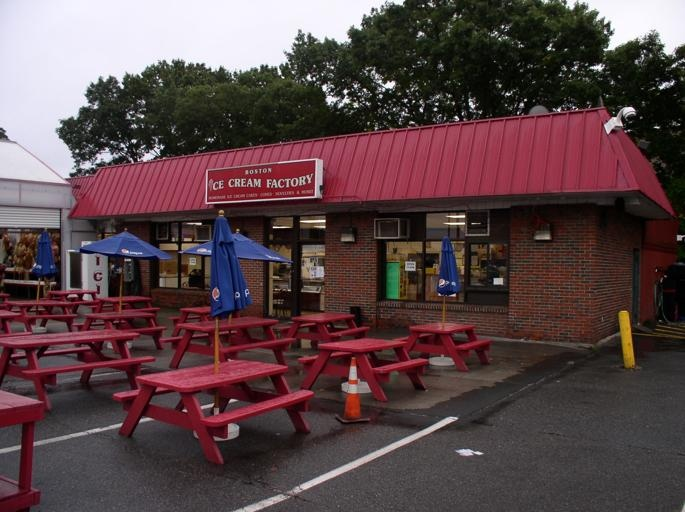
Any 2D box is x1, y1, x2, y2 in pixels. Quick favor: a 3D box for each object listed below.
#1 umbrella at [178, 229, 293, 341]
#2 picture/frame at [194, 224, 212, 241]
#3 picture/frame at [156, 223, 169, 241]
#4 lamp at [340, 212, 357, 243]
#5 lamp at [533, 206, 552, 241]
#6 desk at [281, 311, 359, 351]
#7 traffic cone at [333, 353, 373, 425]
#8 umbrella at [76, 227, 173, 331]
[{"bbox_3d":[-1.760,0.166,8.377,1.480,1.331,1.413,5,-5,-2],"label":"umbrella"},{"bbox_3d":[-5.527,-0.916,21.980,0.958,0.852,0.503,0,-1,37],"label":"picture/frame"},{"bbox_3d":[-7.495,-1.004,23.143,0.748,0.814,0.086,-2,-4,28],"label":"picture/frame"},{"bbox_3d":[0.133,-0.842,17.977,0.610,0.913,0.371,4,6,37],"label":"lamp"},{"bbox_3d":[5.356,-0.827,14.980,0.529,0.901,0.296,3,5,23],"label":"lamp"},{"bbox_3d":[-0.512,1.799,13.576,1.326,0.617,1.260,-1,-1,34],"label":"desk"},{"bbox_3d":[0.107,2.138,9.058,0.802,0.942,0.794,3,-9,13],"label":"traffic cone"},{"bbox_3d":[-5.945,0.334,15.015,2.249,2.125,2.120,3,10,-39],"label":"umbrella"}]
